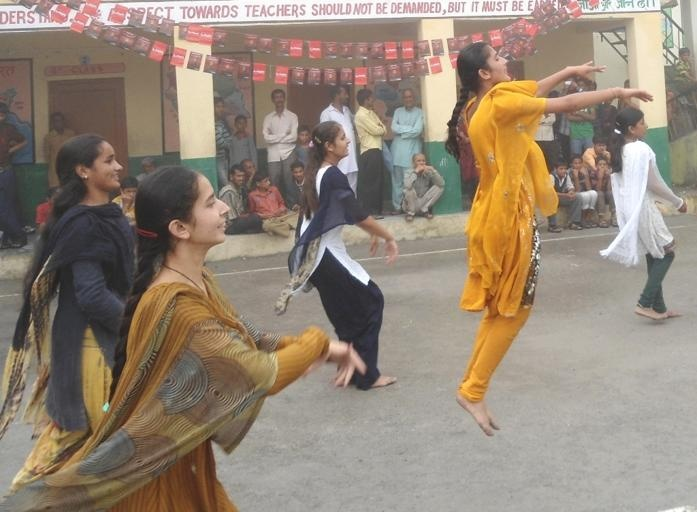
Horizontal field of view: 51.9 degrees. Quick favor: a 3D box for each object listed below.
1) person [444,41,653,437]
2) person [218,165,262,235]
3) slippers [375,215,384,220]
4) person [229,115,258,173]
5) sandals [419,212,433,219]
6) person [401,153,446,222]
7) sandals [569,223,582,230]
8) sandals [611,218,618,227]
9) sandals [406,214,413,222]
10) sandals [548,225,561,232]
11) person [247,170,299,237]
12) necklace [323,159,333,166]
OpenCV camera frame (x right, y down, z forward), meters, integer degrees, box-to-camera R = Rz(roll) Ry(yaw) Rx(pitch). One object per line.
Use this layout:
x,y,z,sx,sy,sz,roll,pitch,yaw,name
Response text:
1.135,-0.147,4.355,1.037,2.241,0.889,2,-3,-28,person
-1.732,-0.918,11.698,0.730,1.106,0.584,-10,-1,-8,person
0.511,-0.648,11.931,0.058,0.063,0.156,-9,5,-40,slippers
-1.856,-1.902,12.843,0.501,1.270,0.268,-9,-30,2,person
1.318,-0.689,11.996,0.181,0.114,0.122,-3,11,4,sandals
1.249,-1.182,12.037,0.745,1.075,0.412,-6,11,-12,person
3.817,-0.495,12.083,0.201,0.090,0.073,0,12,15,sandals
4.589,-0.576,12.408,0.134,0.178,0.157,5,3,3,sandals
1.006,-0.639,11.886,0.117,0.104,0.232,1,-1,2,sandals
3.406,-0.457,11.941,0.102,0.084,0.196,-1,-1,-17,sandals
-1.114,-0.842,11.461,0.703,0.791,1.121,-26,41,-36,person
-0.167,-0.745,5.692,0.048,0.037,0.050,-3,1,27,necklace
